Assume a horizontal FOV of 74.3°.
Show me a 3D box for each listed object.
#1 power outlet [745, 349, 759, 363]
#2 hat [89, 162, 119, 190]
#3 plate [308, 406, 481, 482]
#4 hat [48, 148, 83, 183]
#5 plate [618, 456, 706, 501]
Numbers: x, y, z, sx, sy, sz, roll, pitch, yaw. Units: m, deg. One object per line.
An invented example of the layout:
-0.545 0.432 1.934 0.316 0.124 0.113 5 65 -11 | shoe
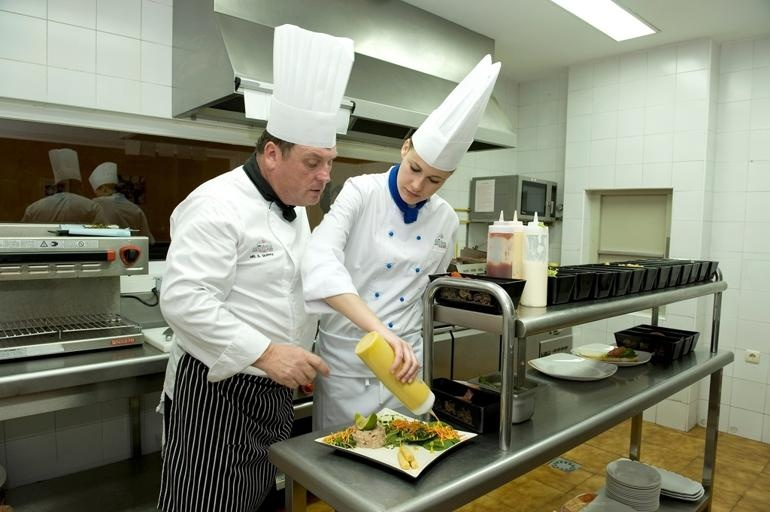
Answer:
3.267 0.889 4.512 0.136 0.135 0.076 0 2 44 | power outlet
-1.810 -0.524 3.331 0.184 0.111 0.155 -21 1 -21 | hat
0.051 0.707 1.939 0.299 0.032 0.330 2 5 41 | plate
-1.999 -0.571 3.251 0.176 0.176 0.204 -4 -1 -9 | hat
1.604 1.237 2.816 0.189 0.042 0.259 0 11 -41 | plate
